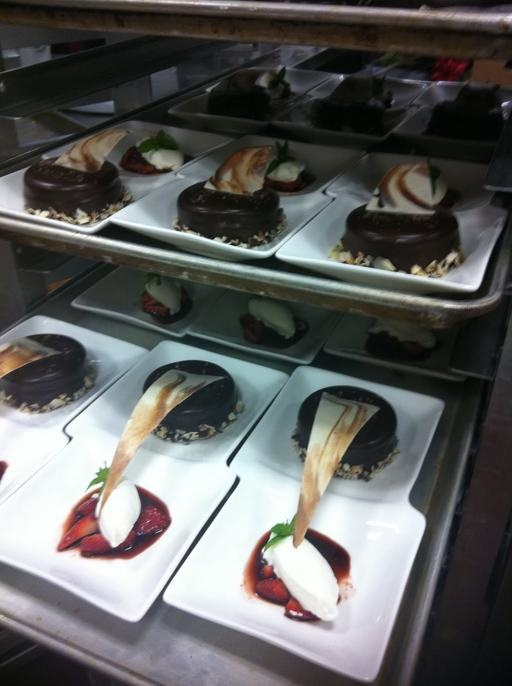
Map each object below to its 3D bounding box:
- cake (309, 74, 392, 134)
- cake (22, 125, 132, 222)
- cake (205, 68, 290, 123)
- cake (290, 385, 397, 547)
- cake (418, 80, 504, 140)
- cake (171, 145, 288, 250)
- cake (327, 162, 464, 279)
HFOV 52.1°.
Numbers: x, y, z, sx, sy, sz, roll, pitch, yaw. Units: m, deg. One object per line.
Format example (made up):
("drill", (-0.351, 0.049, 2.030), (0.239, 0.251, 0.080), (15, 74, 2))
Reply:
("cake", (0.179, -0.468, 1.051), (0.128, 0.055, 0.166), (7, 7, 7))
("cake", (-0.224, -0.227, 0.752), (0.127, 0.094, 0.169), (28, 43, 28))
("cake", (-0.009, -0.547, 1.113), (0.151, 0.062, 0.192), (7, 38, 13))
("cake", (0.118, 0.182, 0.769), (0.114, 0.040, 0.205), (17, 49, 38))
("cake", (0.351, -0.399, 0.937), (0.149, 0.033, 0.140), (0, 46, 14))
("cake", (-0.036, -0.211, 0.698), (0.150, 0.101, 0.144), (12, 42, 18))
("cake", (0.156, -0.140, 0.575), (0.114, 0.094, 0.167), (11, 21, 14))
